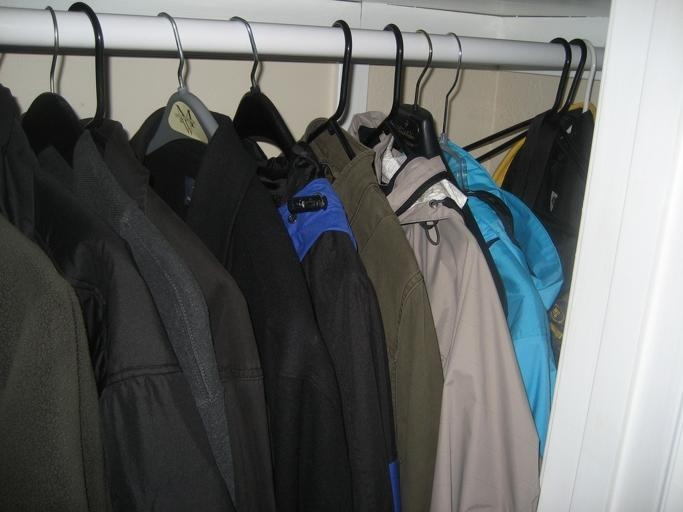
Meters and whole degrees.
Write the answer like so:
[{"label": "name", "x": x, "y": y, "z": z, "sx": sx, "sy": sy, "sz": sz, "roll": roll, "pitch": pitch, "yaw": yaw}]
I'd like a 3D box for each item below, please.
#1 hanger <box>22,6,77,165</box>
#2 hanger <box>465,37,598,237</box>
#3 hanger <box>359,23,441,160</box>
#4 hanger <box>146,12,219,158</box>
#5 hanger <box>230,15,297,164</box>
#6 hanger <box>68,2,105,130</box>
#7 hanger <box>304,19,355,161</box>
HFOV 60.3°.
[{"label": "hanger", "x": -0.427, "y": -0.241, "z": 0.859, "sx": 0.067, "sy": 0.208, "sz": 0.152, "roll": -3, "pitch": 4, "yaw": -33}, {"label": "hanger", "x": 0.394, "y": -0.218, "z": 1.141, "sx": 0.188, "sy": 0.389, "sz": 0.108, "roll": 2, "pitch": 4, "yaw": 30}, {"label": "hanger", "x": 0.102, "y": -0.313, "z": 1.110, "sx": 0.096, "sy": 0.288, "sz": 0.234, "roll": -18, "pitch": 32, "yaw": -23}, {"label": "hanger", "x": -0.274, "y": -0.287, "z": 0.985, "sx": 0.034, "sy": 0.238, "sz": 0.231, "roll": -16, "pitch": 28, "yaw": -33}, {"label": "hanger", "x": -0.143, "y": -0.299, "z": 1.037, "sx": 0.033, "sy": 0.259, "sz": 0.237, "roll": -20, "pitch": 39, "yaw": -24}, {"label": "hanger", "x": -0.392, "y": -0.292, "z": 0.909, "sx": 0.046, "sy": 0.205, "sz": 0.231, "roll": -2, "pitch": 4, "yaw": -22}, {"label": "hanger", "x": -0.012, "y": -0.289, "z": 1.026, "sx": 0.081, "sy": 0.241, "sz": 0.206, "roll": -1, "pitch": 4, "yaw": -12}]
